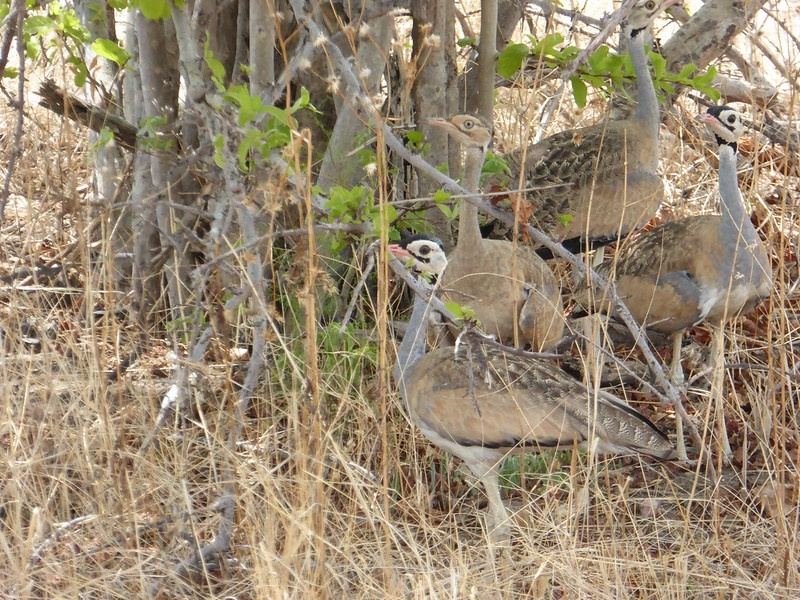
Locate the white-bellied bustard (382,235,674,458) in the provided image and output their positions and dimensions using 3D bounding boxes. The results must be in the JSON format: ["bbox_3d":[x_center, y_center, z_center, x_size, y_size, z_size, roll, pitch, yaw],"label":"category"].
[{"bbox_3d":[0.704,0.427,5.489,1.368,1.025,0.704,4,35,0],"label":"white-bellied bustard"}]
